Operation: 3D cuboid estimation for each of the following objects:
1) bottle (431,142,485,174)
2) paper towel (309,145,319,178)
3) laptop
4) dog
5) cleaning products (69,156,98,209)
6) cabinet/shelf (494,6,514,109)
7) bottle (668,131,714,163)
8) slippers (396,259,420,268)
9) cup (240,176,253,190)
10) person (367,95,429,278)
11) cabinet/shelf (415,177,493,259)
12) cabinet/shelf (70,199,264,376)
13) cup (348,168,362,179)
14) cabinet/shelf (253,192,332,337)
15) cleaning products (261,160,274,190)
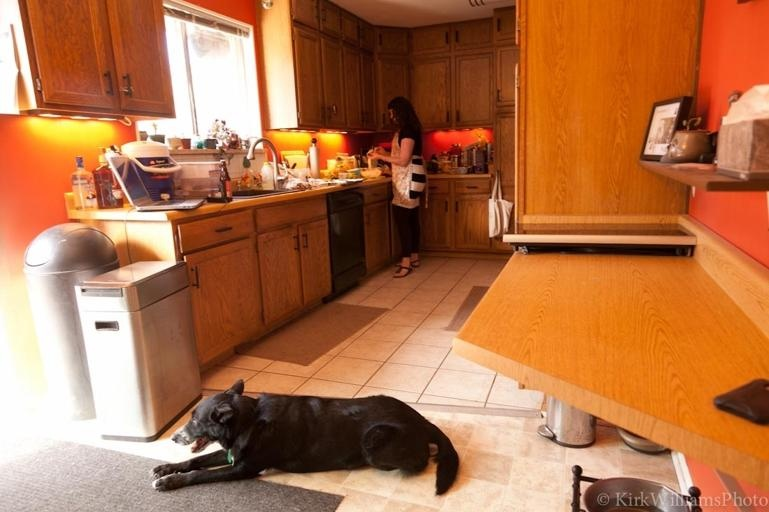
[{"bbox_3d":[0.920,-1.196,6.341,0.514,0.234,0.210,4,13,24],"label":"bottle"},{"bbox_3d":[-0.723,-0.960,5.231,0.109,0.320,0.211,-8,19,-7],"label":"paper towel"},{"bbox_3d":[-1.483,-0.433,3.290,0.443,0.272,0.469,1,11,-2],"label":"laptop"},{"bbox_3d":[-0.343,0.839,2.621,1.375,0.384,0.588,0,-1,3],"label":"dog"},{"bbox_3d":[-1.956,-0.476,3.319,0.146,0.323,0.194,-17,22,-28],"label":"cleaning products"},{"bbox_3d":[1.360,-2.206,5.821,0.275,1.086,0.248,1,21,19],"label":"cabinet/shelf"},{"bbox_3d":[1.318,-0.467,2.225,0.173,0.131,0.101,6,22,31],"label":"bottle"},{"bbox_3d":[0.261,0.086,5.763,0.262,0.087,0.089,0,10,-10],"label":"slippers"},{"bbox_3d":[-1.154,-0.604,4.288,0.122,0.118,0.113,0,15,0],"label":"cup"},{"bbox_3d":[0.177,-0.749,5.628,0.541,1.880,0.974,-4,19,4],"label":"person"},{"bbox_3d":[0.843,-0.477,6.080,0.984,0.866,0.485,1,9,15],"label":"cabinet/shelf"},{"bbox_3d":[-1.481,-0.052,3.966,1.112,1.376,1.482,3,19,9],"label":"cabinet/shelf"},{"bbox_3d":[-0.335,-0.884,5.507,0.111,0.063,0.157,1,18,7],"label":"cup"},{"bbox_3d":[-0.765,0.069,4.134,0.531,0.897,0.991,0,20,12],"label":"cabinet/shelf"},{"bbox_3d":[-1.001,-0.683,4.402,0.108,0.209,0.201,-5,18,2],"label":"cleaning products"}]
